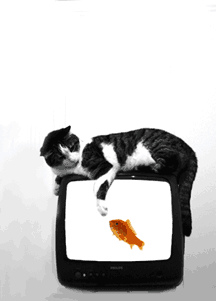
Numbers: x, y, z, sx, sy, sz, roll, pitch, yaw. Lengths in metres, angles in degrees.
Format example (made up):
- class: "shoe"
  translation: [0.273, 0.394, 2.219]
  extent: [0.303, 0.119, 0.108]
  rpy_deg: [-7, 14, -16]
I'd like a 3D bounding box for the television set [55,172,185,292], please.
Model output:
- class: "television set"
  translation: [0.053, 0.363, 1.726]
  extent: [0.541, 0.276, 0.493]
  rpy_deg: [-1, 67, 4]
